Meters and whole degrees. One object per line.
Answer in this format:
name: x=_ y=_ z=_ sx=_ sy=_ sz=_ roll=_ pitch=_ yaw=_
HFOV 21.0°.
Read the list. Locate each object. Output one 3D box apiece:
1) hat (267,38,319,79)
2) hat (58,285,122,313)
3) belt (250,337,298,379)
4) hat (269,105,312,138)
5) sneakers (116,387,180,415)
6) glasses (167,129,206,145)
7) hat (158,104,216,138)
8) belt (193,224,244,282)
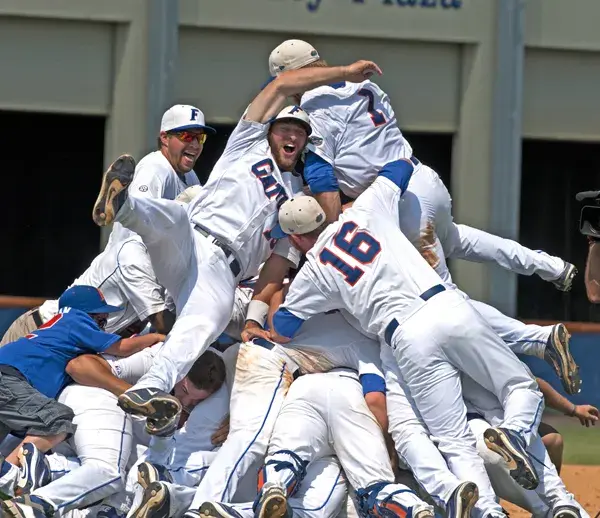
hat: x=-0.085 y=-1.800 z=15.000 sx=0.406 sy=0.273 sz=0.295 roll=-28 pitch=12 yaw=19
hat: x=-1.889 y=0.385 z=14.574 sx=0.370 sy=0.152 sz=0.245 roll=-1 pitch=10 yaw=-15
belt: x=-0.253 y=0.914 z=14.348 sx=0.398 sy=0.143 sz=0.283 roll=40 pitch=14 yaw=-16
hat: x=-0.050 y=-1.229 z=14.662 sx=0.228 sy=0.167 sz=0.301 roll=26 pitch=-15 yaw=-7
sneakers: x=-1.251 y=1.205 z=13.599 sx=0.492 sy=0.223 sz=0.230 roll=8 pitch=6 yaw=0
glasses: x=-1.062 y=-1.099 z=15.410 sx=0.310 sy=0.147 sz=0.196 roll=12 pitch=8 yaw=39
hat: x=-1.111 y=-1.268 z=15.395 sx=0.387 sy=0.204 sz=0.292 roll=-1 pitch=4 yaw=27
belt: x=-0.671 y=-0.056 z=14.472 sx=0.490 sy=0.174 sz=0.356 roll=45 pitch=3 yaw=-18
